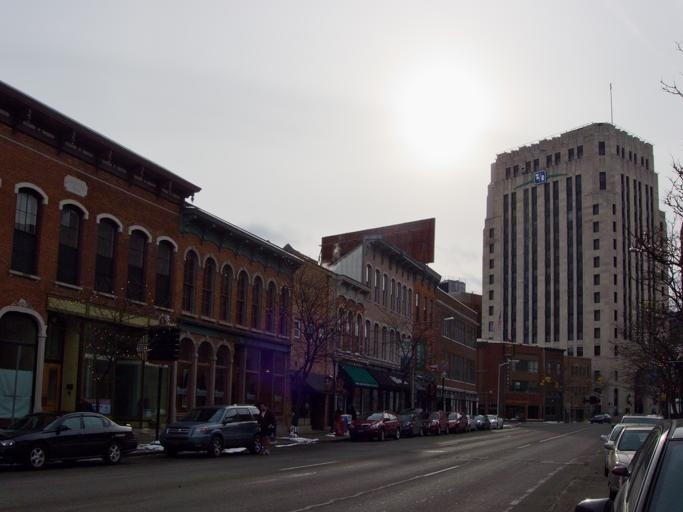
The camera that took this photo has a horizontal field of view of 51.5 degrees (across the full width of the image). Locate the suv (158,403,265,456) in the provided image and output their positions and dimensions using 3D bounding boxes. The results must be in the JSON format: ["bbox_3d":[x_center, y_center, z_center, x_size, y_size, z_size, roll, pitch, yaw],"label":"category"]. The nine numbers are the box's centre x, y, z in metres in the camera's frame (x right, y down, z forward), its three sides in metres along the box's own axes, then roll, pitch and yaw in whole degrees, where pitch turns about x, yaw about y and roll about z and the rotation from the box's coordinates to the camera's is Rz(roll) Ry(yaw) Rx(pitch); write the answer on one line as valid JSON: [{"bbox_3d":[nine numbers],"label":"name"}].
[{"bbox_3d":[-5.104,6.866,28.088,1.402,2.015,4.039,-14,-21,33],"label":"suv"}]
